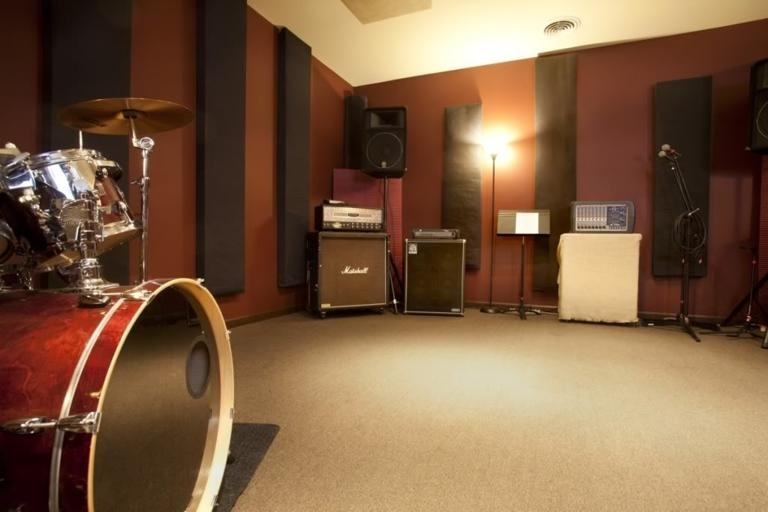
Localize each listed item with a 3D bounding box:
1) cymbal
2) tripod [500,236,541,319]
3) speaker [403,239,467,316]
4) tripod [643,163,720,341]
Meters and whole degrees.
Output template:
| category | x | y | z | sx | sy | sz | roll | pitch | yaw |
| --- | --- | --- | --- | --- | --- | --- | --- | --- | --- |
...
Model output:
| category | x | y | z | sx | sy | sz | roll | pitch | yaw |
| --- | --- | --- | --- | --- | --- | --- | --- | --- | --- |
| cymbal | -1.718 | -0.954 | 3.891 | 0.471 | 0.123 | 0.472 | -5 | -7 | -34 |
| tripod | 1.597 | 0.217 | 6.509 | 0.436 | 0.868 | 0.589 | -4 | 11 | -21 |
| speaker | 0.445 | 0.228 | 6.634 | 0.717 | 1.110 | 0.769 | 0 | 0 | 5 |
| tripod | 3.049 | -0.115 | 5.750 | 0.634 | 1.720 | 1.010 | 6 | 11 | 31 |
